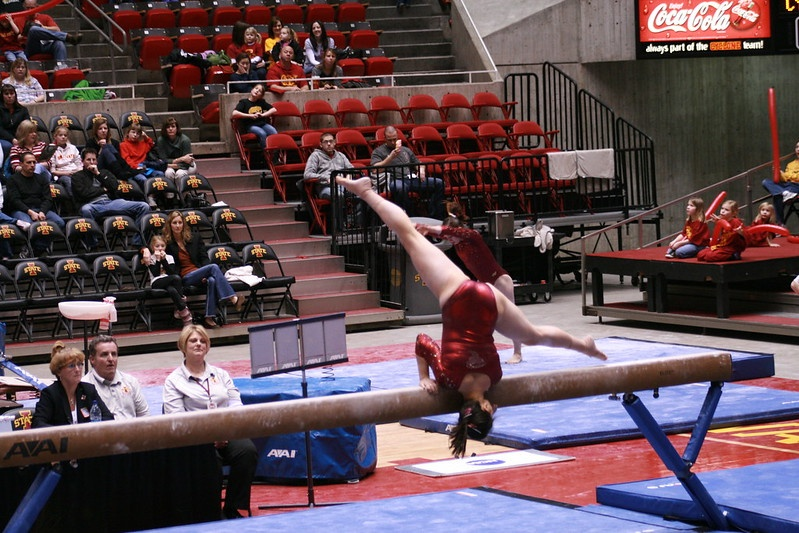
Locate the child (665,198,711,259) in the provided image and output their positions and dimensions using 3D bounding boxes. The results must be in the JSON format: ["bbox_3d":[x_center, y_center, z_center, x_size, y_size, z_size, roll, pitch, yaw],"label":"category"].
[{"bbox_3d":[3.970,-0.523,16.529,0.603,0.801,0.503,-3,9,-14],"label":"child"}]

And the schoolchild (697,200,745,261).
[{"bbox_3d":[4.341,-0.461,16.047,0.513,0.839,0.719,0,8,-15],"label":"schoolchild"}]

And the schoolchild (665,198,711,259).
[{"bbox_3d":[3.957,-0.525,16.492,0.616,0.815,0.521,-2,9,-2],"label":"schoolchild"}]

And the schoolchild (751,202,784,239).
[{"bbox_3d":[5.276,-0.591,17.288,0.377,0.640,0.377,4,1,12],"label":"schoolchild"}]

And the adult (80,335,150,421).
[{"bbox_3d":[-2.687,1.132,11.311,0.694,0.937,0.765,-5,-6,-6],"label":"adult"}]

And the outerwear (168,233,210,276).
[{"bbox_3d":[-2.907,-0.127,16.600,0.582,0.546,0.330,-15,-15,-4],"label":"outerwear"}]

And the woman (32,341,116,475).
[{"bbox_3d":[-2.964,1.425,10.899,0.815,1.448,0.778,5,-12,-41],"label":"woman"}]

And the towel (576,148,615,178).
[{"bbox_3d":[3.208,-1.652,19.453,0.809,0.510,0.235,-11,10,-24],"label":"towel"}]

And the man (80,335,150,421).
[{"bbox_3d":[-2.690,1.131,11.318,0.703,0.939,0.743,-6,-4,0],"label":"man"}]

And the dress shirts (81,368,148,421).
[{"bbox_3d":[-2.685,1.218,11.283,0.412,0.342,0.223,-9,-7,-36],"label":"dress shirts"}]

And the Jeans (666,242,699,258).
[{"bbox_3d":[3.876,-0.189,16.356,0.299,0.105,0.239,-5,-5,-14],"label":"Jeans"}]

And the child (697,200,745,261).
[{"bbox_3d":[4.334,-0.465,16.049,0.501,0.818,0.765,-2,12,-14],"label":"child"}]

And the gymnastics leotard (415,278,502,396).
[{"bbox_3d":[0.321,0.583,10.069,0.851,1.152,0.809,2,4,-20],"label":"gymnastics leotard"}]

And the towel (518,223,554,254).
[{"bbox_3d":[2.100,-0.467,18.208,0.447,0.193,0.459,19,19,36],"label":"towel"}]

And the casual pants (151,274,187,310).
[{"bbox_3d":[-3.028,0.304,16.046,0.444,0.453,0.238,34,36,27],"label":"casual pants"}]

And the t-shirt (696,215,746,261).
[{"bbox_3d":[4.263,-0.397,15.992,0.678,0.776,0.530,-2,-5,29],"label":"t-shirt"}]

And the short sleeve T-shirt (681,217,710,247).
[{"bbox_3d":[4.034,-0.427,16.510,0.328,0.469,0.418,0,-4,-31],"label":"short sleeve T-shirt"}]

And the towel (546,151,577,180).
[{"bbox_3d":[2.615,-1.607,19.149,0.406,0.378,0.113,-5,18,-12],"label":"towel"}]

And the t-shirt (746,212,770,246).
[{"bbox_3d":[5.175,-0.504,17.176,0.347,0.415,1.023,-5,9,19],"label":"t-shirt"}]

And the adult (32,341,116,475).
[{"bbox_3d":[-2.944,1.422,10.902,0.838,1.447,0.786,5,-13,-38],"label":"adult"}]
